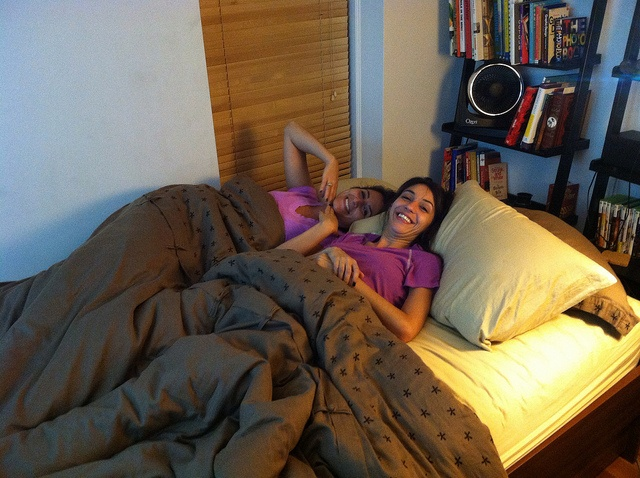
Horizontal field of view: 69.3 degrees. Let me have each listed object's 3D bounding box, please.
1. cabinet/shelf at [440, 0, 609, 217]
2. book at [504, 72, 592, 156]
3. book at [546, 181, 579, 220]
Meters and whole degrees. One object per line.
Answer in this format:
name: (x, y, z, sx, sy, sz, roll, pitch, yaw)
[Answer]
cabinet/shelf: (1.225, -0.787, 2.721, 0.300, 1.395, 0.680, -18, 44, -40)
book: (1.323, -0.719, 2.666, 0.399, 0.439, 0.250, -5, 26, -34)
book: (1.439, -0.225, 2.741, 0.090, 0.293, 0.187, 8, 14, 34)
